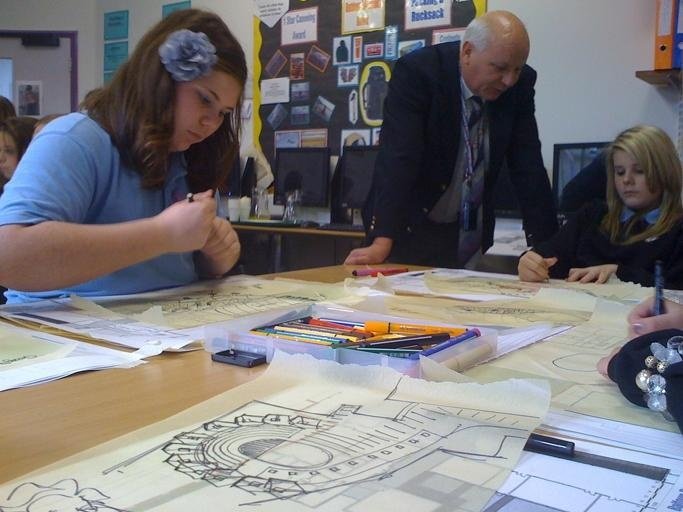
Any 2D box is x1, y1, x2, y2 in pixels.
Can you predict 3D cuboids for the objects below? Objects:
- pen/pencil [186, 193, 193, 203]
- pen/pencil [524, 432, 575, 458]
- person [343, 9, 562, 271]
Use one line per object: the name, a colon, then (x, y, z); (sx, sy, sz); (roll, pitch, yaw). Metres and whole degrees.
pen/pencil: (-0.298, -0.114, 1.036); (0.011, 0.015, 0.089); (-2, 10, -15)
pen/pencil: (0.175, 0.158, 0.450); (0.048, 0.012, 0.015); (3, 2, 41)
person: (0.338, -0.334, 1.757); (0.752, 0.810, 0.359); (-3, 10, -24)
